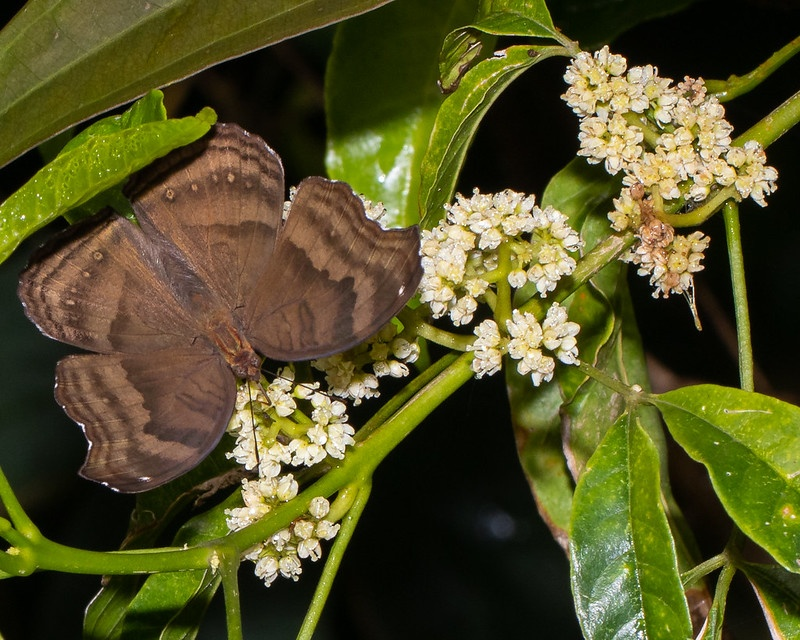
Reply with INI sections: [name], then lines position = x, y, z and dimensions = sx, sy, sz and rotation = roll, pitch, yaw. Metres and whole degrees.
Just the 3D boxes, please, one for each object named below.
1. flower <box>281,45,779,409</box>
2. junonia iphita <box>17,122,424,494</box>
[flower]
position = 0.419, -0.257, 1.894
dimensions = 0.598, 0.239, 0.690
rotation = 7, 77, 23
[junonia iphita]
position = -0.360, -0.044, 1.874
dimensions = 0.660, 0.652, 1.004
rotation = -9, 16, -17
